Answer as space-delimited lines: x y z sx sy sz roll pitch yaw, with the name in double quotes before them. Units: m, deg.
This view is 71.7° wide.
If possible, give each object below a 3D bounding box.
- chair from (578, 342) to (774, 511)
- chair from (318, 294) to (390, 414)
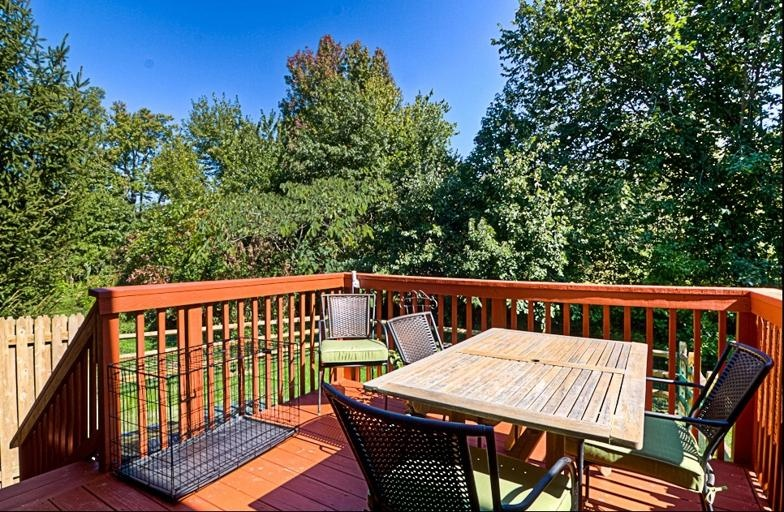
"chair" 3.224 1.863 6.334 2.094 2.194 1.584 -3 3 27
"chair" -0.560 1.244 7.273 1.125 1.393 1.076 -2 3 -45
